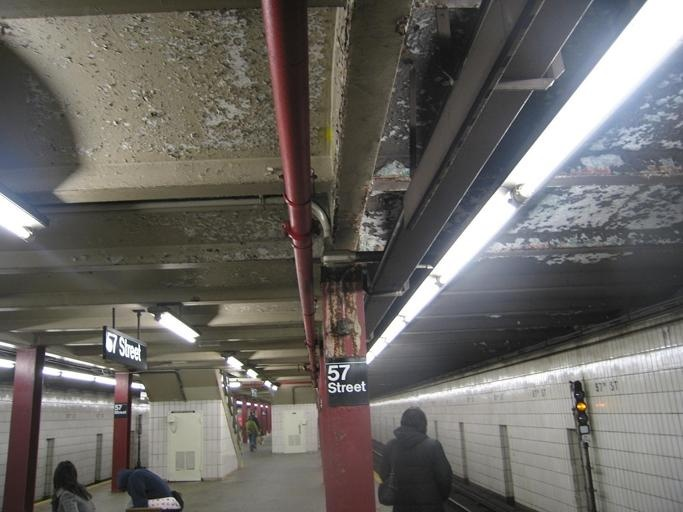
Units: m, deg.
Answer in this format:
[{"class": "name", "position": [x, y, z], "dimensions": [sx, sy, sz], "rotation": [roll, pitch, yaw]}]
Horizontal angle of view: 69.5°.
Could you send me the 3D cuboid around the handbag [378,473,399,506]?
[{"class": "handbag", "position": [0.480, 2.347, 4.921], "dimensions": [0.137, 0.290, 0.269], "rotation": [13, -28, -1]}]
